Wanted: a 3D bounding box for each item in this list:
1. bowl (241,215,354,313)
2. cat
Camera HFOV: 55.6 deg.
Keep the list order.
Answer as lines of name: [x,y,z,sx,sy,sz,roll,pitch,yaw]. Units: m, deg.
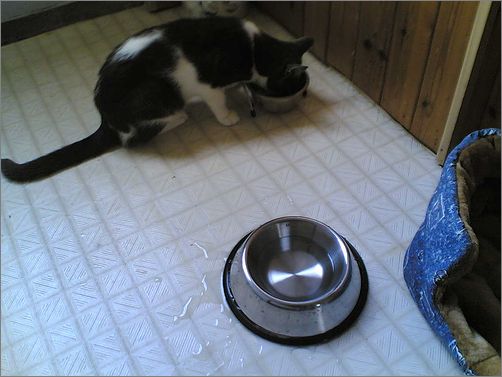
bowl: [0.161,0.266,1.674,0.364,0.126,0.341,-4,59,7]
cat: [-0.387,-0.367,2.106,1.159,0.443,0.321,-20,60,5]
